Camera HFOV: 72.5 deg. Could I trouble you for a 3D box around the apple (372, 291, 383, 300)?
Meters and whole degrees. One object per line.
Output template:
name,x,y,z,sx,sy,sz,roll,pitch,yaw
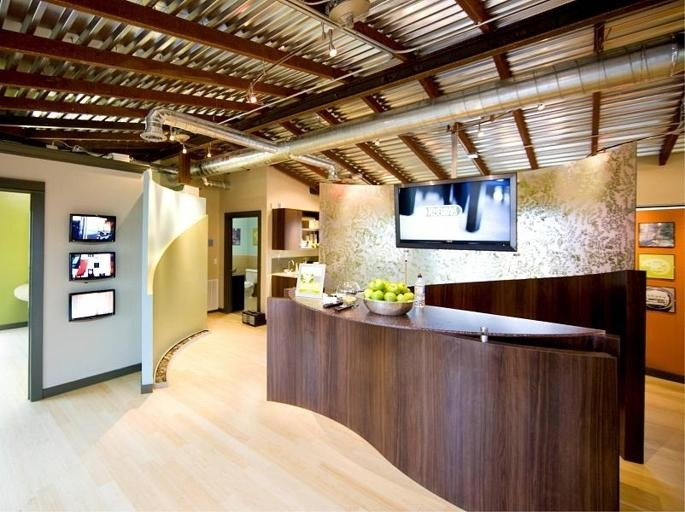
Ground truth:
apple,0.375,0.421,4.979,0.103,0.090,0.095,-3,-5,0

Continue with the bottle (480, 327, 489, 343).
bottle,1.346,0.747,4.450,0.079,0.141,0.132,2,1,17

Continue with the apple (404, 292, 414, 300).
apple,0.696,0.423,4.898,0.076,0.035,0.074,-4,7,-37

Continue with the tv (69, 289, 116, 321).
tv,-3.605,0.688,6.666,0.057,0.340,0.532,-1,-3,39

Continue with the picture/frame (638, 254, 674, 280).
picture/frame,5.039,0.178,7.463,0.044,0.381,0.440,-3,4,-39

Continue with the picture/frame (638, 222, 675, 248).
picture/frame,5.163,-0.335,7.647,0.481,0.434,0.036,0,-4,40

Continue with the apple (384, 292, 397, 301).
apple,0.501,0.432,4.917,0.102,0.101,0.093,11,-7,-6

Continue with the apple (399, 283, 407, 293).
apple,0.641,0.347,4.995,0.098,0.081,0.092,-2,-1,-6

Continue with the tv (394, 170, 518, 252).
tv,1.557,-0.558,6.372,1.434,0.737,0.101,0,1,35

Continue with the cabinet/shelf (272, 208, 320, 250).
cabinet/shelf,-0.959,-0.582,10.782,0.377,0.901,1.692,3,4,30

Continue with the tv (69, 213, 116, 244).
tv,-3.591,-0.388,6.646,0.069,0.328,0.501,-1,-1,43

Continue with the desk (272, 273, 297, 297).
desk,-1.146,0.568,9.163,0.528,0.454,0.277,0,0,43

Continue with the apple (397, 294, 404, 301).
apple,0.597,0.441,4.865,0.063,0.064,0.066,1,1,-28

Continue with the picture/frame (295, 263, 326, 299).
picture/frame,-0.403,0.302,5.791,0.417,0.419,0.012,8,-1,-41

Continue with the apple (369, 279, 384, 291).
apple,0.367,0.315,5.007,0.128,0.110,0.117,0,-2,-15
